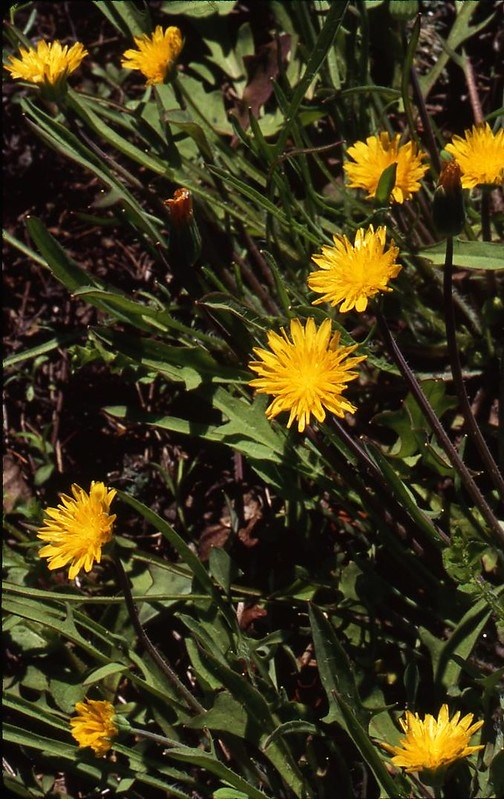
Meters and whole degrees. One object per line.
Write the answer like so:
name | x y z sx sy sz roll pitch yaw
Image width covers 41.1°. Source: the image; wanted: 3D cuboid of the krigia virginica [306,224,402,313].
krigia virginica | 0.151 -0.189 0.948 0.132 0.078 0.146 -19 43 31

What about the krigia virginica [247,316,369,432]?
krigia virginica | 0.073 -0.028 0.886 0.142 0.090 0.160 -19 43 -1

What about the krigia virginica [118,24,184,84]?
krigia virginica | -0.178 -0.618 1.256 0.096 0.142 0.100 -4 28 7
